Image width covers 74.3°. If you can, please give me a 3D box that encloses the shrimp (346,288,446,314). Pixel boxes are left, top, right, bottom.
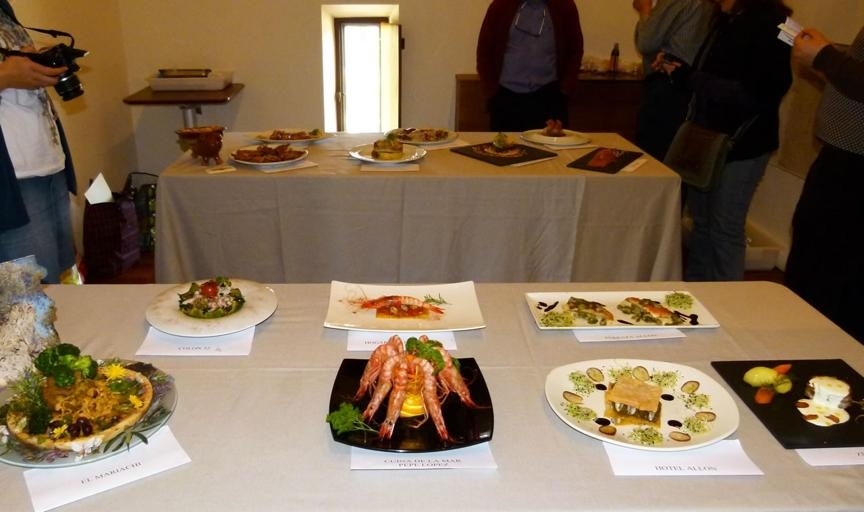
[{"bbox_3d":[-0.125,0.171,2.044,0.232,0.030,0.119,0,25,-3],"label":"shrimp"}]

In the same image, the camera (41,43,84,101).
[{"bbox_3d":[-1.685,-0.848,2.650,0.157,0.239,0.249,-16,33,-28],"label":"camera"}]

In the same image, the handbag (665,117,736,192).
[{"bbox_3d":[1.567,-0.594,3.399,0.148,0.402,0.410,11,21,-40],"label":"handbag"}]

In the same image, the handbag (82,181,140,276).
[{"bbox_3d":[-2.345,-0.146,4.221,0.265,0.584,0.409,2,-2,-1],"label":"handbag"}]

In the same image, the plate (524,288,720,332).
[{"bbox_3d":[0.684,0.167,2.078,0.574,0.126,0.166,0,2,8],"label":"plate"}]

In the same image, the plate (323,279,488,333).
[{"bbox_3d":[-0.092,0.182,2.049,0.377,0.048,0.242,0,25,-3],"label":"plate"}]

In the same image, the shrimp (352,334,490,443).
[{"bbox_3d":[-0.111,0.326,1.869,0.544,0.253,0.442,-7,25,-15],"label":"shrimp"}]

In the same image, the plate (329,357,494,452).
[{"bbox_3d":[-0.065,0.443,1.734,0.485,0.095,0.317,0,28,-3],"label":"plate"}]
